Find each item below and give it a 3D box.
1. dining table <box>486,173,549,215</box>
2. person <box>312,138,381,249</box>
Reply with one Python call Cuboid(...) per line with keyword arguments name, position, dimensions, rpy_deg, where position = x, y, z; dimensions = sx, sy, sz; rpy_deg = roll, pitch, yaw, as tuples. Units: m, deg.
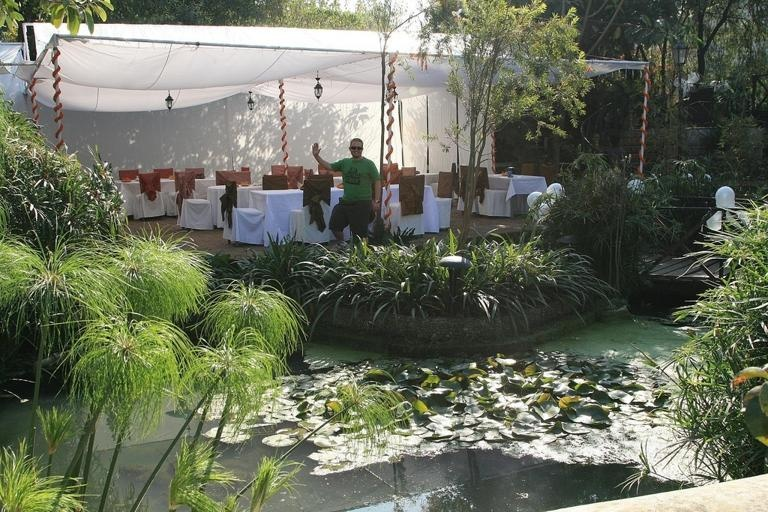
Cuboid(name="dining table", position=(2.883, -1.339, 13.543), dimensions=(0.970, 0.547, 0.899), rpy_deg=(-6, 2, -23))
Cuboid(name="person", position=(-0.494, -0.906, 9.132), dimensions=(0.969, 1.551, 0.511), rpy_deg=(12, 18, 39))
